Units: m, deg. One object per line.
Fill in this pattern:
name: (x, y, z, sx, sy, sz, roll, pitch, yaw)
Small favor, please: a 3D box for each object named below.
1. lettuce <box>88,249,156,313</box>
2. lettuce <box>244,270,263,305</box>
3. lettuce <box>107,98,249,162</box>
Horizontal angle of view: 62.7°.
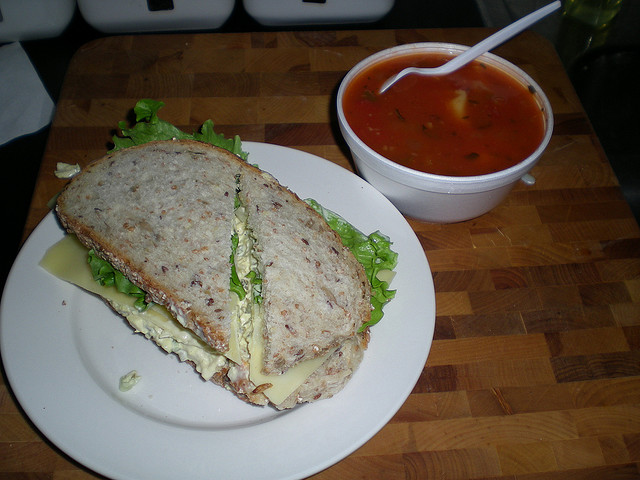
lettuce: (-1.162, 0.224, 3.028, 0.415, 0.344, 0.343, -13, 33, -26)
lettuce: (-0.348, 0.253, 2.902, 0.042, 0.152, 0.149, 0, 88, -35)
lettuce: (-0.938, -0.698, 3.455, 0.972, 0.890, 0.192, 12, 106, 7)
